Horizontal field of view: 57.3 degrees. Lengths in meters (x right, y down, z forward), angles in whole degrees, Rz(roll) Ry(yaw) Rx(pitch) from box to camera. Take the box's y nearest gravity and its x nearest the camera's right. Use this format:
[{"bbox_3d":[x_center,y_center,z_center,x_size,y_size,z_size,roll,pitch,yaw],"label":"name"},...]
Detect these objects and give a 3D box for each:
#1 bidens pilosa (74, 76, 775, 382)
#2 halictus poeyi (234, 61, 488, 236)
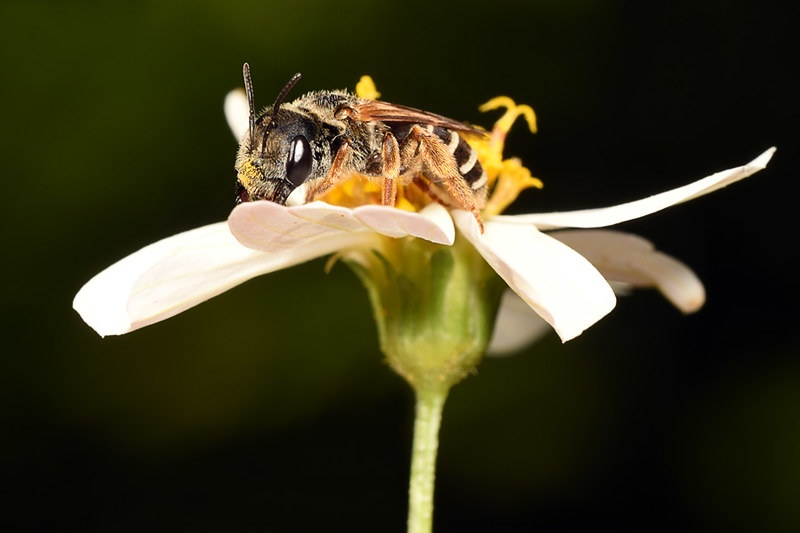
[{"bbox_3d":[0.024,0.003,0.748,0.538,0.164,0.383,11,-17,-41],"label":"bidens pilosa"},{"bbox_3d":[-0.036,-0.099,0.790,0.256,0.085,0.182,2,4,-33],"label":"halictus poeyi"}]
